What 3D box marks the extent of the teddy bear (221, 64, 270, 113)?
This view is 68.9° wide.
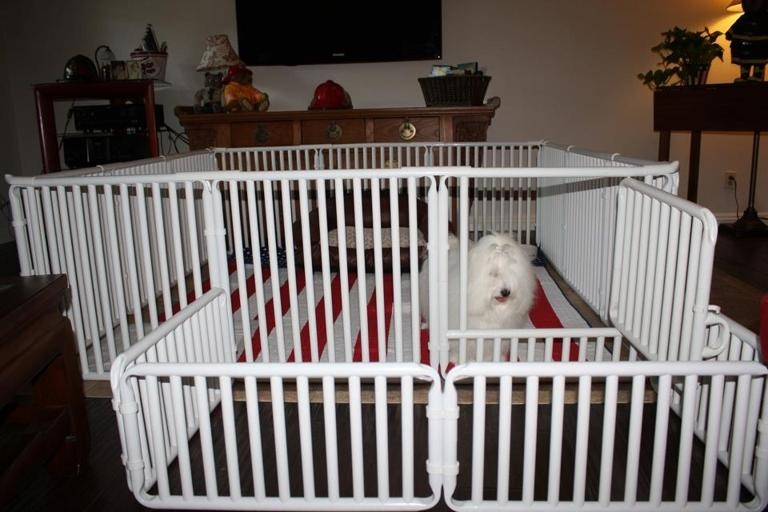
[{"bbox_3d":[-1.250,-1.466,5.024,0.361,0.476,0.225,-3,-3,-20],"label":"teddy bear"}]

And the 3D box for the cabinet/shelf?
[{"bbox_3d":[-1.981,-0.878,4.026,0.792,0.753,0.569,-10,7,-20],"label":"cabinet/shelf"}]

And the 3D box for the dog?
[{"bbox_3d":[0.519,0.175,2.835,0.466,0.679,0.765,-1,5,-20],"label":"dog"}]

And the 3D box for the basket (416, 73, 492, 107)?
[{"bbox_3d":[0.632,-1.438,4.853,0.406,0.143,0.404,-4,12,-16],"label":"basket"}]

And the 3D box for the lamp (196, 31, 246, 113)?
[{"bbox_3d":[-1.538,-1.715,5.316,0.456,0.683,0.441,4,15,11],"label":"lamp"}]

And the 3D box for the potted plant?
[{"bbox_3d":[2.856,-1.825,5.328,0.732,0.706,0.843,-8,20,-29],"label":"potted plant"}]
